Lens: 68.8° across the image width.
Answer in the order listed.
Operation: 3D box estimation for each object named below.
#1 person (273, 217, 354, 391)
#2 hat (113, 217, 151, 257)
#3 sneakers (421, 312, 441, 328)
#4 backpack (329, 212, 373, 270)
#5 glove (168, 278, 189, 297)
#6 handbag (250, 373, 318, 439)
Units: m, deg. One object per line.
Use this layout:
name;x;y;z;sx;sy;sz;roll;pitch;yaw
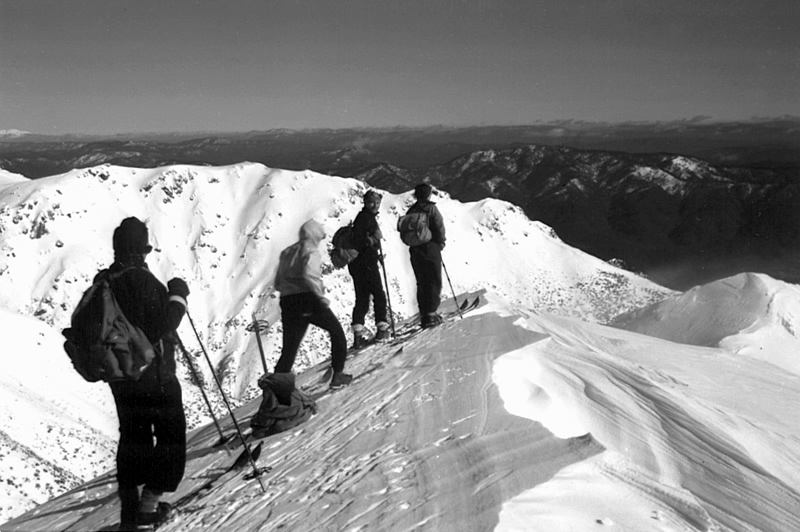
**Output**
person;-1.619;0.578;10.512;1.308;2.739;0.731;6;11;-13
hat;-3.576;-0.374;7.771;0.434;0.524;0.328;3;12;-25
sneakers;0.740;1.307;14.110;0.235;0.259;0.592;0;14;42
backpack;-1.038;-0.503;12.603;1.198;0.867;0.477;-48;20;-14
glove;-2.978;0.307;7.805;0.251;0.304;0.401;4;12;-21
handbag;-2.079;2.455;10.414;1.008;0.813;1.268;-8;11;31
